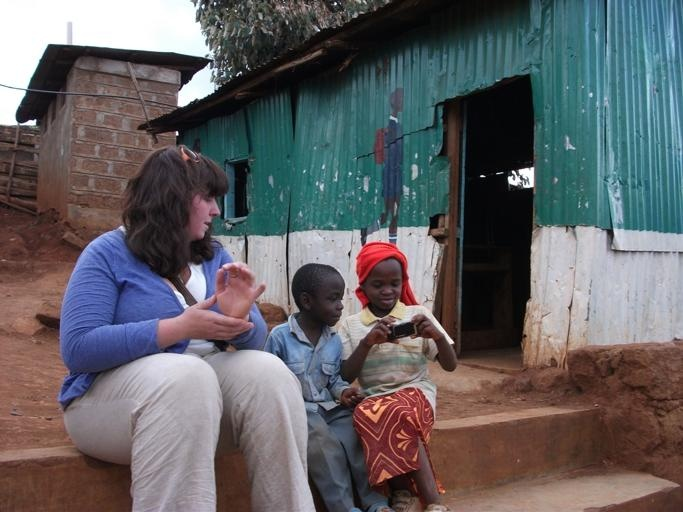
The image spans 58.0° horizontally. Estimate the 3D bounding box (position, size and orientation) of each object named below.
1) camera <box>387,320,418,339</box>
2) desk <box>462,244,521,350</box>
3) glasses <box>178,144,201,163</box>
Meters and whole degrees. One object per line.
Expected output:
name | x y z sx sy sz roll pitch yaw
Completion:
camera | 0.383 0.466 3.863 0.180 0.114 0.074 2 -1 -21
desk | 1.880 0.584 8.553 0.933 1.292 1.002 -1 -4 -7
glasses | -0.885 -0.590 3.562 0.121 0.077 0.098 23 -2 33
